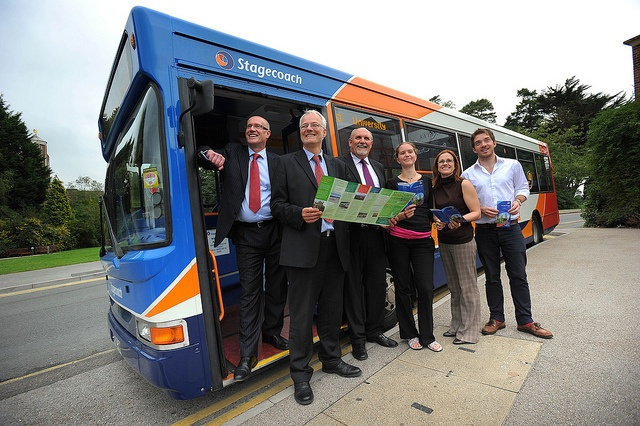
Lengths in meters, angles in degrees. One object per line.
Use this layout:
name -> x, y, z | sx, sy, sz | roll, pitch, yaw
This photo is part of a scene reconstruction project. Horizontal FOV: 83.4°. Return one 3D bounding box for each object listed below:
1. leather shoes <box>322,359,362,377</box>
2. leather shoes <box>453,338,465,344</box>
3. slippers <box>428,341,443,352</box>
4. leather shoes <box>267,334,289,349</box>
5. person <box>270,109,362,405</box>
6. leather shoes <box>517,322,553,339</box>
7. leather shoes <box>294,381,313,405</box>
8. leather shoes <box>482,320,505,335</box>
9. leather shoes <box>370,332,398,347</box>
leather shoes -> 0.296, 2.149, 4.962 | 0.503, 0.226, 0.238 | 1, 1, 11
leather shoes -> 2.113, 1.958, 5.498 | 0.178, 0.082, 0.069 | -1, 8, 17
slippers -> 1.715, 2.003, 5.370 | 0.095, 0.090, 0.239 | -26, 4, -20
leather shoes -> -0.622, 1.829, 5.153 | 0.350, 0.152, 0.137 | 2, 1, 31
person -> -0.075, 0.498, 4.741 | 1.079, 3.648, 0.906 | -9, 14, -22
leather shoes -> 3.312, 1.784, 5.598 | 0.480, 0.201, 0.183 | -2, 1, 44
leather shoes -> -0.212, 2.318, 4.627 | 0.248, 0.231, 0.191 | -6, 14, -5
leather shoes -> 2.759, 1.807, 5.746 | 0.460, 0.192, 0.162 | 4, -7, -37
leather shoes -> 0.999, 1.967, 5.574 | 0.493, 0.220, 0.174 | 2, 8, 29
